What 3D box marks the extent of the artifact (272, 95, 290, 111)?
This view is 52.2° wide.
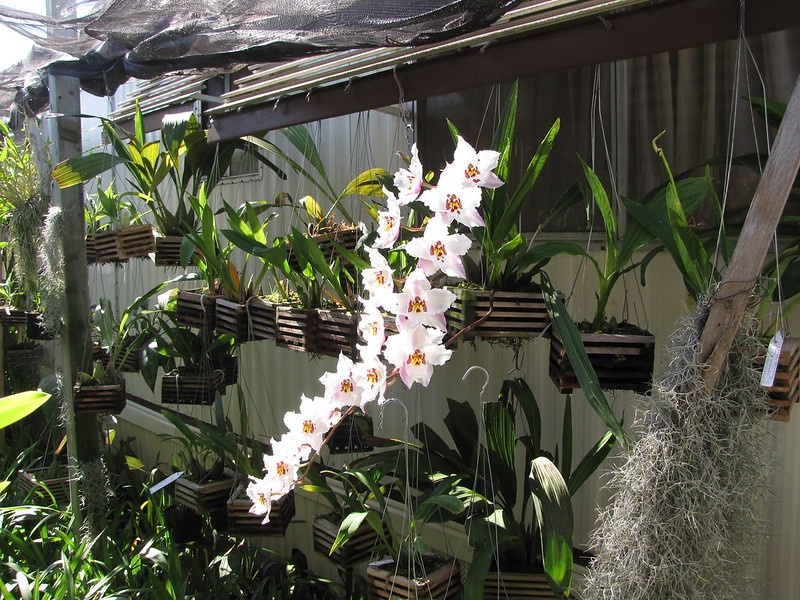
[{"bbox_3d":[-0.541,-0.888,3.642,0.048,0.062,0.012,-7,-17,41],"label":"artifact"}]

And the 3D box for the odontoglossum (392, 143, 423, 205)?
[{"bbox_3d":[0.024,-0.401,2.534,0.047,0.177,0.141,0,-21,-19],"label":"odontoglossum"}]

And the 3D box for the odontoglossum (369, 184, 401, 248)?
[{"bbox_3d":[-0.029,-0.297,2.511,0.113,0.053,0.108,32,1,-42],"label":"odontoglossum"}]

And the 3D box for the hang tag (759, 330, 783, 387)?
[{"bbox_3d":[1.123,0.174,2.478,0.039,0.225,0.014,13,40,23],"label":"hang tag"}]

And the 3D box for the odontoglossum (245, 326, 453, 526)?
[{"bbox_3d":[-0.155,0.374,2.589,0.646,0.553,0.272,3,-1,17],"label":"odontoglossum"}]

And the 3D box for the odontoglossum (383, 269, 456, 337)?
[{"bbox_3d":[0.059,0.007,2.450,0.161,0.087,0.173,29,-28,-24],"label":"odontoglossum"}]
